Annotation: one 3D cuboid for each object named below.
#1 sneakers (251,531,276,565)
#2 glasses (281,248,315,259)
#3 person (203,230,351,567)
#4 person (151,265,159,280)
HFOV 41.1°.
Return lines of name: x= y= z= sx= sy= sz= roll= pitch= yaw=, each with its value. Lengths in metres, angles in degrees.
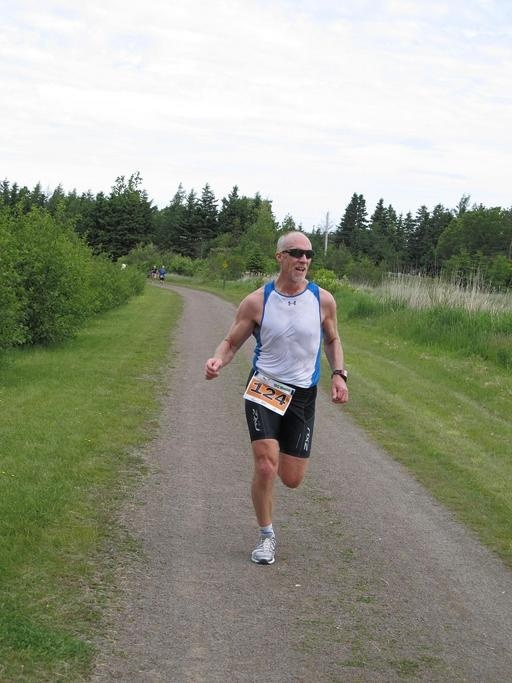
sneakers: x=0.051 y=1.313 z=4.399 sx=0.156 sy=0.184 sz=0.236 roll=4 pitch=5 yaw=2
glasses: x=0.266 y=-0.569 z=4.421 sx=0.199 sy=0.068 sz=0.174 roll=4 pitch=5 yaw=2
person: x=0.138 y=0.335 z=4.466 sx=0.930 sy=2.129 sz=0.500 roll=2 pitch=6 yaw=-26
person: x=-8.518 y=-5.760 z=56.702 sx=0.398 sy=1.175 sz=1.763 roll=3 pitch=5 yaw=-15
